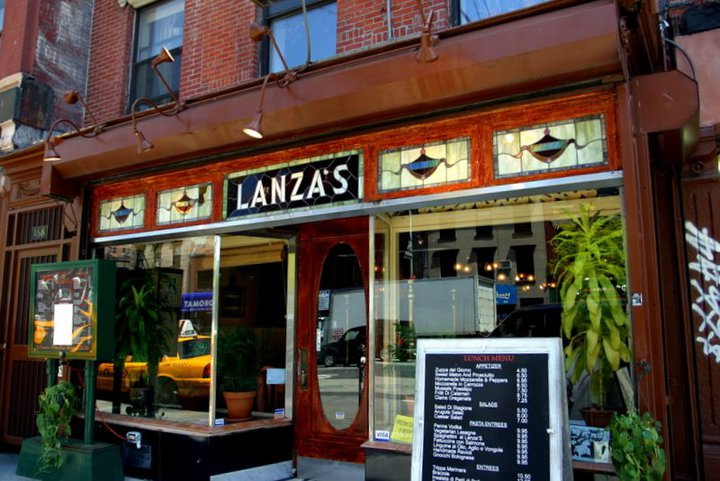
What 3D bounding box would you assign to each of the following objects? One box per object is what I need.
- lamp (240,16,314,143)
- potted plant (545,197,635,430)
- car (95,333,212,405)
[{"bbox_3d":[-1.037,-2.172,8.084,0.892,0.475,1.554,-11,-55,-12],"label":"lamp"},{"bbox_3d":[2.587,0.730,7.235,0.761,2.239,0.364,-5,-13,22],"label":"potted plant"},{"bbox_3d":[-2.990,1.930,9.897,2.037,0.718,0.896,-2,-9,19],"label":"car"}]
